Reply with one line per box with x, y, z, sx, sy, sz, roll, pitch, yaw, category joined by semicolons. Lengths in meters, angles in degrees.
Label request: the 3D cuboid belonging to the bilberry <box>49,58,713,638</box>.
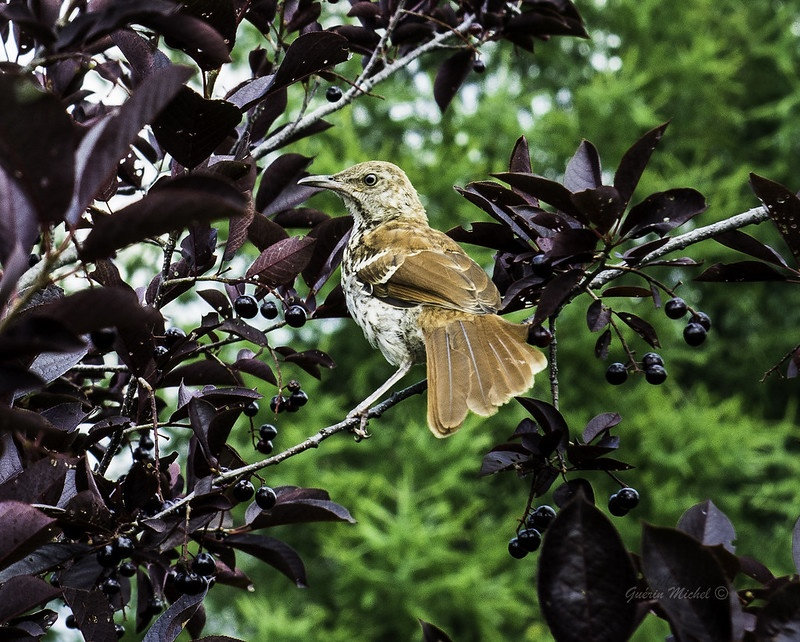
-0.445;0.376;5.907;1.628;3.662;2.528;0;1;-37;bilberry

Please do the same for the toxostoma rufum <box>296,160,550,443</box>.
0.167;-0.091;6.739;0.728;1.519;1.600;-7;12;-26;toxostoma rufum
